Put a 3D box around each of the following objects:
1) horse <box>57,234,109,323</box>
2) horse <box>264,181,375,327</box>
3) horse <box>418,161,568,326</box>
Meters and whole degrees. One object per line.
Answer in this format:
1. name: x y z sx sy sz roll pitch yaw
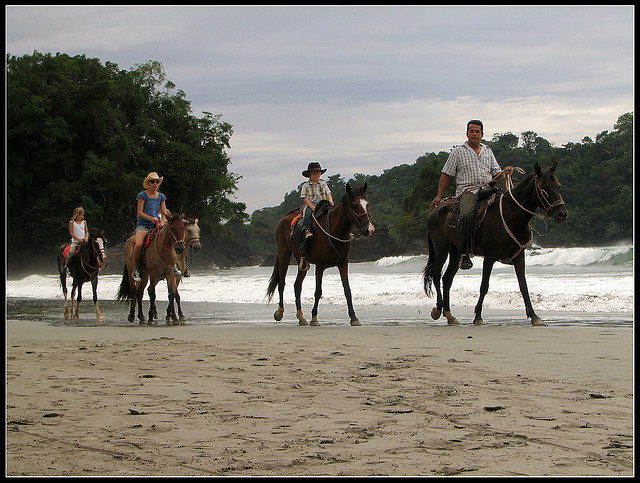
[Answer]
1. horse: -6.225 0.936 17.636 0.828 2.318 3.376 0 -2 -38
2. horse: 0.006 0.258 14.043 1.391 2.803 3.455 -2 0 -22
3. horse: 3.209 0.126 12.816 1.217 3.085 3.619 -2 0 -22
